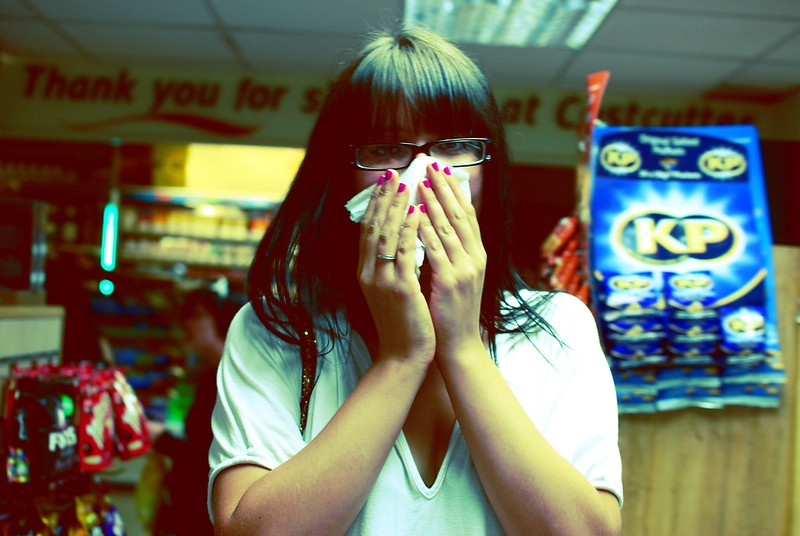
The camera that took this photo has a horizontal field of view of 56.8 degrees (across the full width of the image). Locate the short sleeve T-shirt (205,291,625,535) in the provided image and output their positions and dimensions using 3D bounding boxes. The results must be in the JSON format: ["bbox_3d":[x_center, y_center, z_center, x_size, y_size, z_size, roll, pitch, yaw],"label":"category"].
[{"bbox_3d":[0.048,0.483,2.532,1.363,0.801,0.306,1,2,-2],"label":"short sleeve T-shirt"}]
